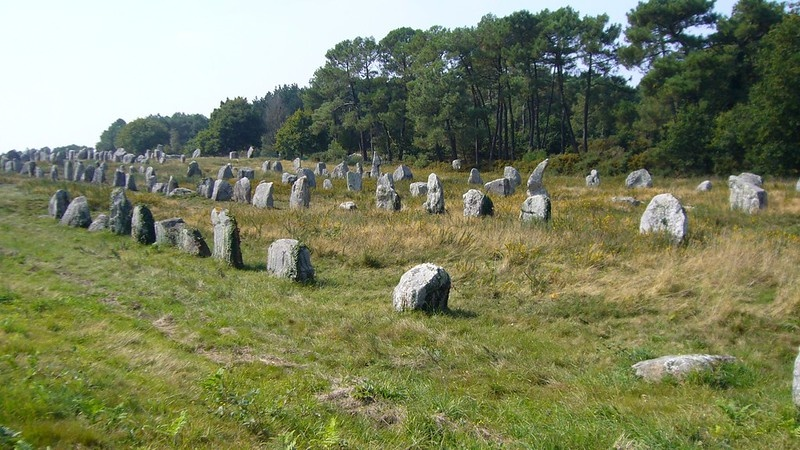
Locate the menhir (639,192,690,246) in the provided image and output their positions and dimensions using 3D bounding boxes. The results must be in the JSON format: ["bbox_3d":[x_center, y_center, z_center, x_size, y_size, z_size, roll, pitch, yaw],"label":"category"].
[{"bbox_3d":[13.610,-0.178,42.556,2.556,2.598,0.945,9,-2,37],"label":"menhir"}]

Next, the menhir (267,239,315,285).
[{"bbox_3d":[-5.253,1.770,40.249,2.324,2.046,0.730,4,0,24],"label":"menhir"}]

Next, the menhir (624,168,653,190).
[{"bbox_3d":[15.969,-3.007,55.687,2.268,1.753,1.251,0,-5,40],"label":"menhir"}]

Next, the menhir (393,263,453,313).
[{"bbox_3d":[1.039,2.965,39.437,2.334,1.746,2.301,0,-2,-2],"label":"menhir"}]

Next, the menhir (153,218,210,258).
[{"bbox_3d":[-11.073,0.677,41.963,3.064,1.868,0.672,4,0,21],"label":"menhir"}]

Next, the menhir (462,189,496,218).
[{"bbox_3d":[4.405,-1.245,46.668,1.704,1.701,2.153,-6,-10,1],"label":"menhir"}]

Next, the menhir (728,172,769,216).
[{"bbox_3d":[19.825,-1.797,47.795,1.918,0.986,2.783,-3,16,6],"label":"menhir"}]

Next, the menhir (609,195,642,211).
[{"bbox_3d":[13.392,-1.276,48.955,1.698,0.780,2.040,3,1,-8],"label":"menhir"}]

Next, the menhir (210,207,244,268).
[{"bbox_3d":[-8.903,0.644,41.855,0.873,2.752,3.244,1,8,-37],"label":"menhir"}]

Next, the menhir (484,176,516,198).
[{"bbox_3d":[6.358,-2.363,52.986,1.464,0.889,1.458,3,1,19],"label":"menhir"}]
